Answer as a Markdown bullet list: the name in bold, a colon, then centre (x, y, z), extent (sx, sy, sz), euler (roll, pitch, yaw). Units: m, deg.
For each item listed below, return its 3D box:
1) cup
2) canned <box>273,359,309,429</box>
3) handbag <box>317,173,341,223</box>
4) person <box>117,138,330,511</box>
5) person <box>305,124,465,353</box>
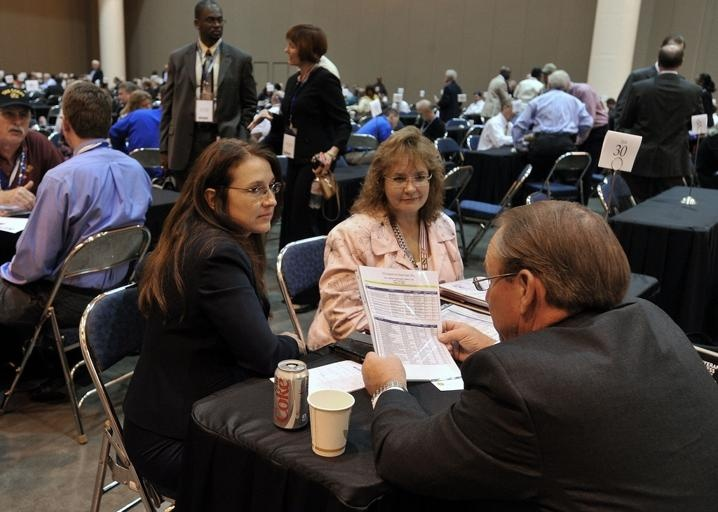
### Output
- **cup**: centre (-0.074, 0.418, 1.464), extent (0.127, 0.141, 0.132), euler (3, 11, -1)
- **canned**: centre (-0.179, 0.367, 1.491), extent (0.072, 0.167, 0.075), euler (14, 17, 42)
- **handbag**: centre (-0.251, -0.444, 4.322), extent (0.100, 0.339, 0.187), euler (-12, -7, 23)
- **person**: centre (-0.505, 0.185, 1.923), extent (0.586, 1.124, 0.382), euler (-4, 14, -25)
- **person**: centre (0.166, 0.001, 2.441), extent (0.655, 1.078, 0.629), euler (7, -6, -19)
